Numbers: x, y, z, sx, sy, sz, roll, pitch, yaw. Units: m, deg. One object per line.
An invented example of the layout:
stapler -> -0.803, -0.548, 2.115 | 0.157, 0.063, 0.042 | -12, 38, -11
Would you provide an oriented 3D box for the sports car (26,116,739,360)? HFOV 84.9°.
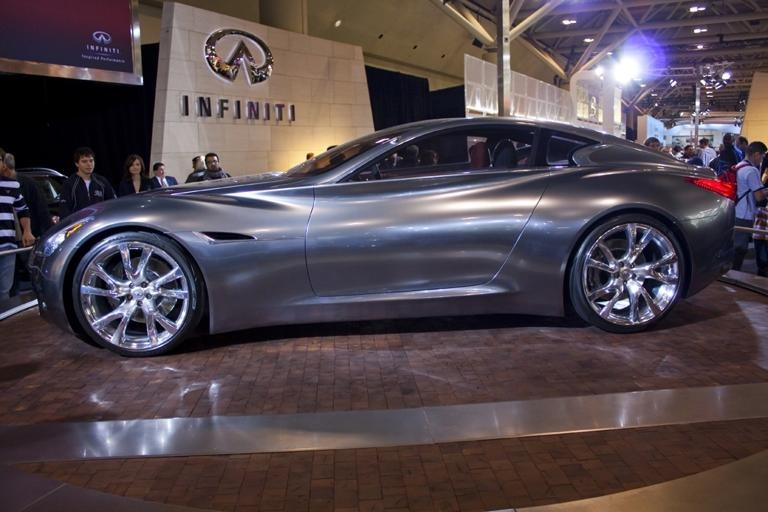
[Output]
sports car -> 0.114, -0.144, 4.534 | 5.706, 1.756, 2.687 | 1, 3, -3
